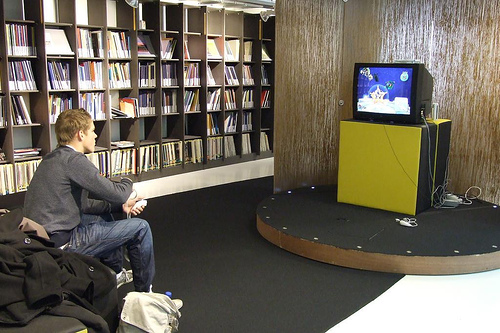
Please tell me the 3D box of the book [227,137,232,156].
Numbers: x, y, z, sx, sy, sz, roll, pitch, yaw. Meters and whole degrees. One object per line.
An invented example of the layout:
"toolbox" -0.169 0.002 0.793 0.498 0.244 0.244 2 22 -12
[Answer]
"book" -0.419 -0.414 7.221 0.069 0.386 0.038 -2 15 -5

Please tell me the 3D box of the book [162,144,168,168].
"book" -1.522 -0.191 6.327 0.068 0.283 0.277 -2 0 -4

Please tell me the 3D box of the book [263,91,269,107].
"book" 0.349 -1.487 7.695 0.138 0.322 0.020 -7 16 -22

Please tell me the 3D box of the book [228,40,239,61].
"book" -0.341 -2.340 7.016 0.217 0.402 0.317 -17 23 -21

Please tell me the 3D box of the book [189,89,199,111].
"book" -1.036 -1.255 6.613 0.075 0.317 0.315 9 8 3

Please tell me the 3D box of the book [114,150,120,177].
"book" -2.204 -0.076 5.826 0.055 0.398 0.390 -1 8 -13

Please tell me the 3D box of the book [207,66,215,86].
"book" -0.745 -1.763 6.764 0.130 0.348 0.189 -3 15 -7

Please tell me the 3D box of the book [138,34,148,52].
"book" -1.811 -2.090 5.921 0.169 0.289 0.155 -7 16 -22

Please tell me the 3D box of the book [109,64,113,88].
"book" -2.247 -1.465 5.683 0.039 0.352 0.033 13 20 42

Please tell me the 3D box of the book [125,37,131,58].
"book" -2.011 -1.984 5.795 0.049 0.377 0.283 -11 16 -19

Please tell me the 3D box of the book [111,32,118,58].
"book" -2.173 -1.961 5.653 0.063 0.374 0.036 3 15 16

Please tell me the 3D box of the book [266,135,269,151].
"book" 0.387 -0.531 7.819 0.054 0.319 0.034 -1 15 1

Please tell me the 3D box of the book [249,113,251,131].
"book" 0.000 -0.969 7.516 0.037 0.346 0.112 5 16 20

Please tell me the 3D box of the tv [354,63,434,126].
"tv" 1.817 -0.970 4.487 0.859 0.718 0.650 12 20 41

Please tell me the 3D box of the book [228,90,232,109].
"book" -0.413 -1.376 7.095 0.060 0.384 0.047 -13 6 -20

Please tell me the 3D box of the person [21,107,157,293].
"person" -1.155 0.397 2.890 0.703 1.689 1.038 10 18 34

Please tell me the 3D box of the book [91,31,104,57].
"book" -2.364 -1.920 5.501 0.290 0.305 0.072 3 7 8

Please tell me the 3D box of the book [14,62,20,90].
"book" -3.211 -1.256 4.850 0.027 0.320 0.028 -6 -2 -22

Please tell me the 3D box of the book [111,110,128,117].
"book" -2.150 -0.885 5.778 0.226 0.107 0.070 -8 17 -23

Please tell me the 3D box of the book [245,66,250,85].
"book" -0.056 -1.910 7.309 0.083 0.365 0.076 7 17 28

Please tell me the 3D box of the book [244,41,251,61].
"book" -0.064 -2.393 7.276 0.117 0.367 0.099 -1 15 -1

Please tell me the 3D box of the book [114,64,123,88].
"book" -2.162 -1.496 5.758 0.062 0.270 0.255 -10 19 -12

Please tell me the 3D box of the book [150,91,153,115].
"book" -1.713 -1.100 6.134 0.037 0.355 0.097 -5 15 -14

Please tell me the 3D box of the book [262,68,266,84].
"book" 0.318 -1.986 7.677 0.069 0.320 0.047 7 17 29

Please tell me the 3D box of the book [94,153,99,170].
"book" -2.425 -0.112 5.602 0.021 0.221 0.045 11 19 38

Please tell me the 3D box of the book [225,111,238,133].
"book" -0.393 -0.923 7.151 0.200 0.347 0.350 -9 18 -34

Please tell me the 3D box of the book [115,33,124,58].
"book" -2.123 -1.983 5.692 0.037 0.363 0.280 -15 38 -11

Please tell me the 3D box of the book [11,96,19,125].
"book" -3.287 -0.770 4.932 0.055 0.337 0.030 13 20 43

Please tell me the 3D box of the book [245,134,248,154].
"book" -0.077 -0.486 7.517 0.066 0.290 0.272 -4 11 7

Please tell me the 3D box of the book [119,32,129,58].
"book" -2.065 -2.003 5.745 0.051 0.362 0.277 -13 42 -16

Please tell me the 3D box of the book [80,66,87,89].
"book" -2.554 -1.381 5.399 0.060 0.327 0.080 -4 15 -13

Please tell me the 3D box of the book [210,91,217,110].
"book" -0.698 -1.298 6.819 0.055 0.225 0.237 10 20 -11

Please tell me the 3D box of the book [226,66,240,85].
"book" -0.343 -1.848 7.100 0.073 0.322 0.320 -12 13 10

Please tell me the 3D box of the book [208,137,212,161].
"book" -0.782 -0.345 6.869 0.094 0.437 0.027 -7 16 -23

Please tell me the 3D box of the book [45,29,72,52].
"book" -2.806 -1.843 5.132 0.336 0.316 0.201 -13 19 -37

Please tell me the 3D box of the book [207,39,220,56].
"book" -0.689 -2.249 6.663 0.301 0.290 0.070 -5 5 -39

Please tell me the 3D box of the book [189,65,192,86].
"book" -1.085 -1.669 6.453 0.016 0.319 0.085 9 18 34

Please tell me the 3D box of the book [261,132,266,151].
"book" 0.310 -0.561 7.748 0.077 0.416 0.050 -3 15 -8

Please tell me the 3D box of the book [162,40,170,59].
"book" -1.467 -2.093 6.199 0.170 0.238 0.070 6 3 20

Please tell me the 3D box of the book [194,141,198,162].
"book" -1.035 -0.290 6.688 0.055 0.244 0.241 -5 10 -3

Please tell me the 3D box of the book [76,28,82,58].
"book" -2.562 -1.857 5.279 0.050 0.414 0.096 -5 15 -15

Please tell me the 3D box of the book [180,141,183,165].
"book" -1.275 -0.260 6.511 0.049 0.421 0.061 -3 15 -9

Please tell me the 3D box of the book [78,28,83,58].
"book" -2.546 -1.857 5.286 0.036 0.409 0.090 -7 16 -23

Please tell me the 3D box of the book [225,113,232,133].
"book" -0.451 -0.899 7.123 0.089 0.359 0.182 11 19 38

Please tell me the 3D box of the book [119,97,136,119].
"book" -2.047 -0.987 5.906 0.300 0.317 0.105 -2 3 31

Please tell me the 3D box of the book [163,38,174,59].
"book" -1.425 -2.136 6.175 0.199 0.210 0.049 9 7 7

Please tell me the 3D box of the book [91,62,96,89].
"book" -2.439 -1.429 5.469 0.054 0.390 0.064 -3 15 -6

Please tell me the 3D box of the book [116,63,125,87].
"book" -2.121 -1.522 5.786 0.041 0.285 0.028 -17 14 -25
